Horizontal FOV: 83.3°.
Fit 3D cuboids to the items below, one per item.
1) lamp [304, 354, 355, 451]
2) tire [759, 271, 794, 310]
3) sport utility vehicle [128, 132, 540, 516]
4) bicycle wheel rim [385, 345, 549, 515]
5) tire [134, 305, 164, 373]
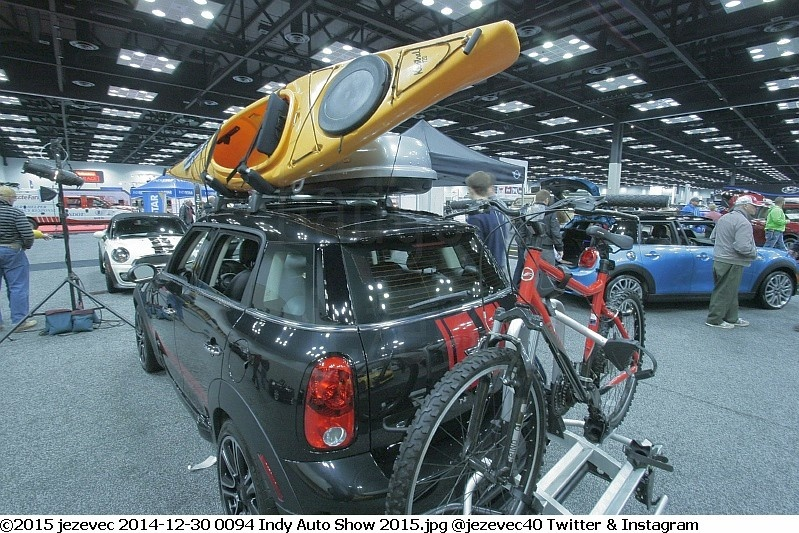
[{"bbox_3d":[-0.463,0.924,2.992,0.307,0.616,0.123,0,8,-10],"label":"lamp"},{"bbox_3d":[6.202,0.391,7.427,0.700,0.534,0.231,13,9,-11],"label":"tire"},{"bbox_3d":[-1.076,0.123,4.290,2.597,1.529,3.967,-11,20,-36],"label":"sport utility vehicle"},{"bbox_3d":[0.400,1.181,3.043,1.069,1.206,0.453,-2,9,-27],"label":"bicycle wheel rim"},{"bbox_3d":[-2.719,0.814,4.913,0.308,0.723,0.858,11,-18,-31],"label":"tire"}]
